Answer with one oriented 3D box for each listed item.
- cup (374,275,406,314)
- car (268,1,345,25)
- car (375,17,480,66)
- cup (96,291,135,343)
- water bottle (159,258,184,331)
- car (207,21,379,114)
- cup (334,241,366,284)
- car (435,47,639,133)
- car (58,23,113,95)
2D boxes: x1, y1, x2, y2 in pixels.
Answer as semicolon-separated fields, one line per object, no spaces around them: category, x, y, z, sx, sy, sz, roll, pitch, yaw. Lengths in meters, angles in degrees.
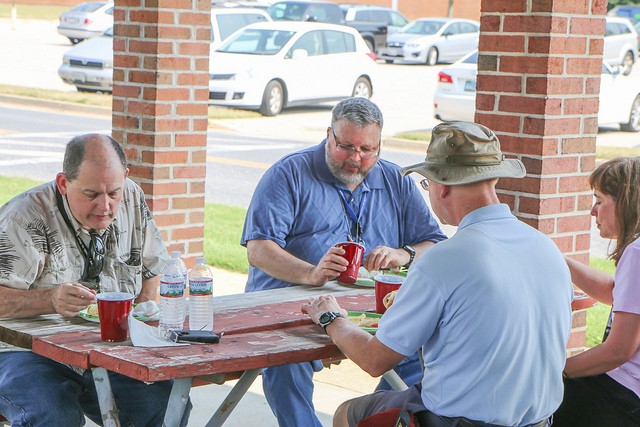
cup;0.413;0.503;5.320;0.239;0.228;0.233;4;2;0
car;-0.486;-6.310;26.298;2.253;0.674;1.331;1;8;-4
car;4.228;-6.368;30.804;2.079;1.530;4.807;22;24;40
cup;-1.130;0.567;4.641;0.245;0.251;0.251;0;1;0
water bottle;-0.845;0.455;4.825;0.121;0.412;0.129;3;0;0
car;-0.887;-3.319;18.996;2.501;1.728;4.333;8;10;41
cup;0.182;0.331;5.593;0.247;0.255;0.229;5;-29;3
car;4.780;-2.511;17.368;4.890;1.430;1.375;-2;9;-24
car;-5.023;-3.381;18.673;1.550;1.191;0.660;7;10;33
